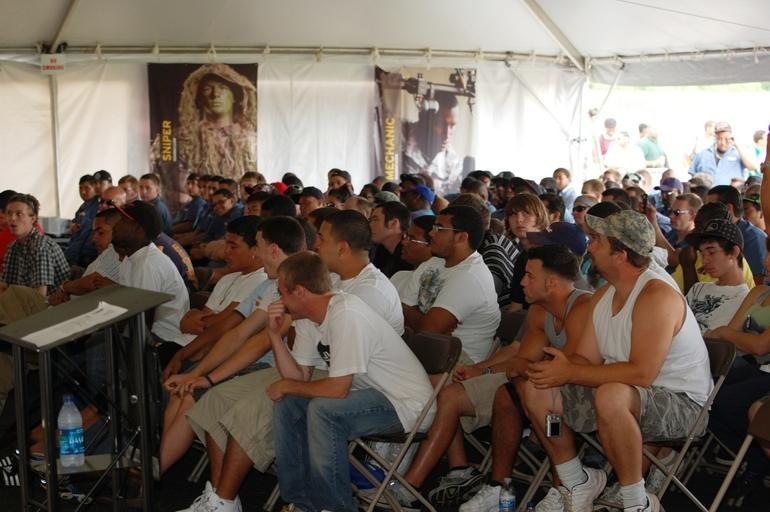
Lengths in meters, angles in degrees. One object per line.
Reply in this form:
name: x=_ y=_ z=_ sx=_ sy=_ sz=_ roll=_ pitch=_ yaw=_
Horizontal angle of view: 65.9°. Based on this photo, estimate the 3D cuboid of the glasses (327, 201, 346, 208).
glasses: x=-0.630 y=-0.660 z=7.618 sx=0.166 sy=0.051 sz=0.176 roll=0 pitch=0 yaw=16

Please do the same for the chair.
chair: x=0.461 y=1.762 z=5.183 sx=3.749 sy=1.354 sz=1.590 roll=-4 pitch=-35 yaw=14

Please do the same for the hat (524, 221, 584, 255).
hat: x=1.366 y=-0.109 z=4.624 sx=0.407 sy=0.211 sz=0.261 roll=10 pitch=3 yaw=1

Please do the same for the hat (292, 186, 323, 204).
hat: x=-1.023 y=-0.827 z=7.594 sx=0.360 sy=0.145 sz=0.243 roll=6 pitch=-3 yaw=12

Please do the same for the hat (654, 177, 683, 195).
hat: x=3.902 y=-0.943 z=8.022 sx=0.384 sy=0.209 sz=0.254 roll=10 pitch=-3 yaw=-20

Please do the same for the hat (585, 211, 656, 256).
hat: x=1.421 y=-0.160 z=3.565 sx=0.352 sy=0.157 sz=0.241 roll=24 pitch=10 yaw=4

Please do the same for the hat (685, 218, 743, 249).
hat: x=2.495 y=-0.201 z=4.484 sx=0.329 sy=0.186 sz=0.236 roll=6 pitch=-8 yaw=9
